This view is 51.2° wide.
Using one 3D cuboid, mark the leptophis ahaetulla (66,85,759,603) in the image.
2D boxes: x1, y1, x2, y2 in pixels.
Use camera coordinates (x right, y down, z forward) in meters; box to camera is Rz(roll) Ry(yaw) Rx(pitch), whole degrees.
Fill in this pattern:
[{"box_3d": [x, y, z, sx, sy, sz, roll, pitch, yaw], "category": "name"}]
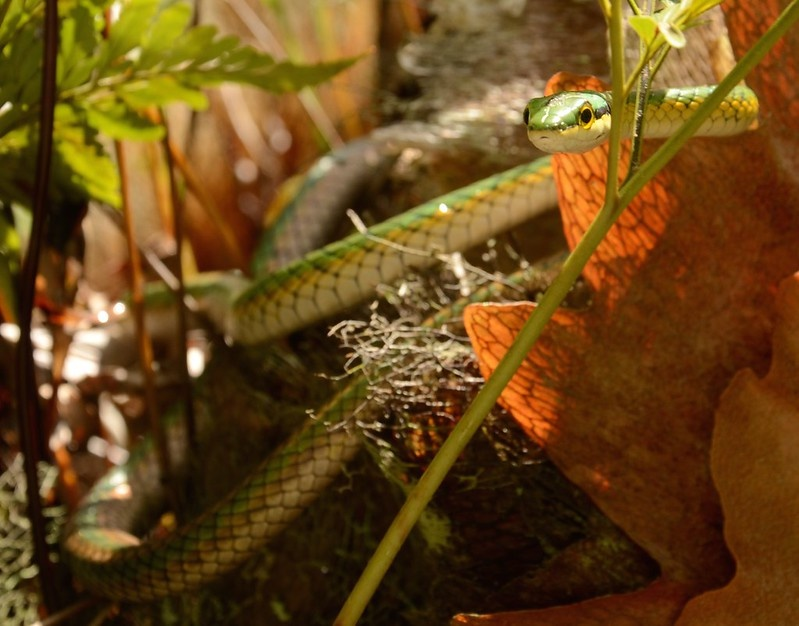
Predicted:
[{"box_3d": [-0.019, 0.136, 0.890, 0.544, 0.147, 0.438, -35, 20, 5], "category": "leptophis ahaetulla"}]
